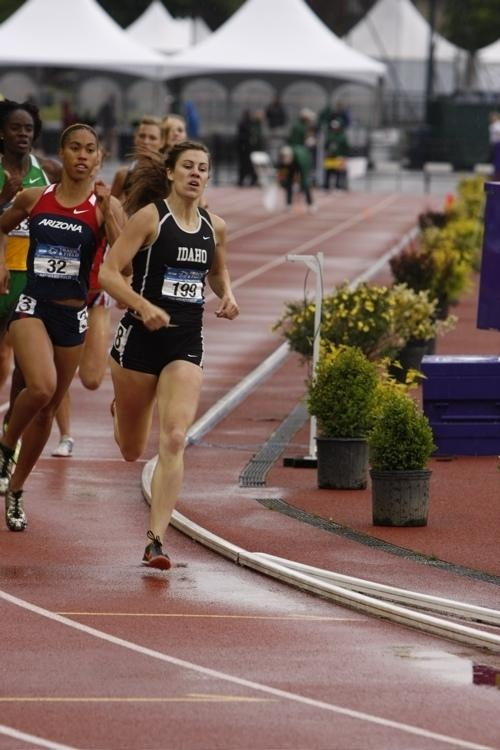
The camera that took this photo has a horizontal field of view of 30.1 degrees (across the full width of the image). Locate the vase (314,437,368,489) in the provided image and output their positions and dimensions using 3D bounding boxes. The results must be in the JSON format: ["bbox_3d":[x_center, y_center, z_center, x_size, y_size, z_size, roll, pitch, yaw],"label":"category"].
[{"bbox_3d":[0.617,0.609,6.585,0.416,0.336,0.384,0,1,-2],"label":"vase"}]

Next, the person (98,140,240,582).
[{"bbox_3d":[-0.419,-0.062,4.529,0.582,2.110,0.857,3,12,14],"label":"person"}]

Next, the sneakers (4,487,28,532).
[{"bbox_3d":[-1.315,0.764,5.183,0.102,0.252,0.184,-3,-18,-13],"label":"sneakers"}]

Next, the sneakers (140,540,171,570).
[{"bbox_3d":[-0.449,0.855,4.396,0.101,0.092,0.218,3,-8,-18],"label":"sneakers"}]
